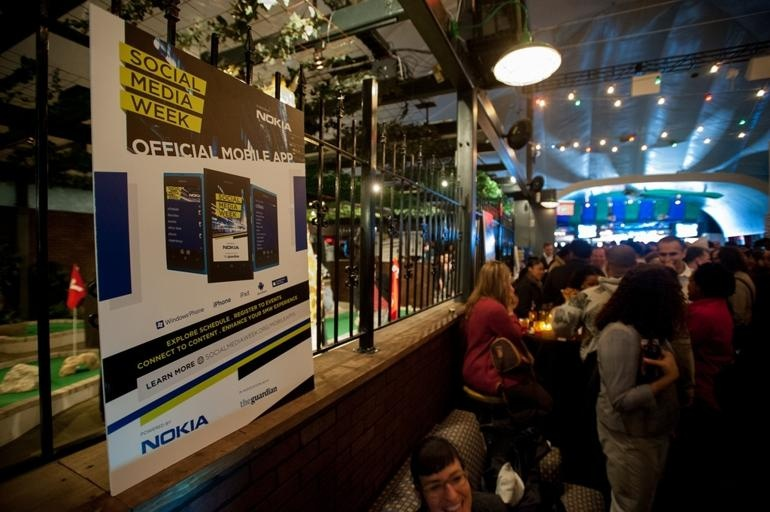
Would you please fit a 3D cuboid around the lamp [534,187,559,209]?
[{"bbox_3d":[4.560,-1.617,14.376,0.562,0.597,0.584,-3,5,-16],"label":"lamp"}]
